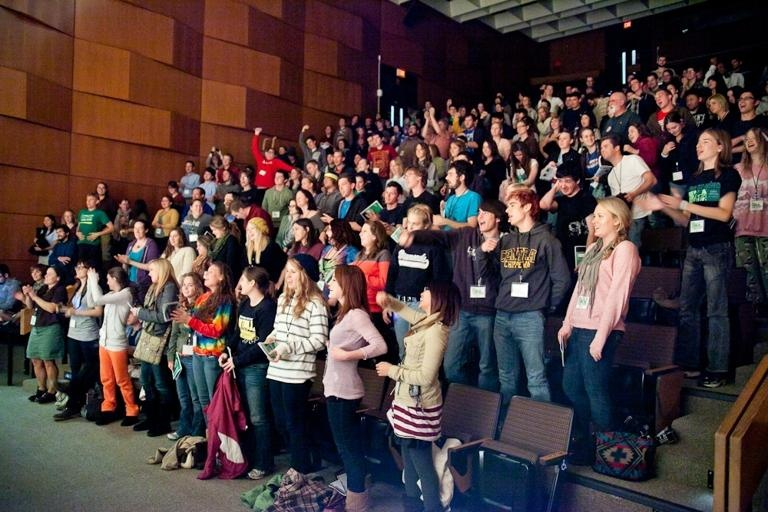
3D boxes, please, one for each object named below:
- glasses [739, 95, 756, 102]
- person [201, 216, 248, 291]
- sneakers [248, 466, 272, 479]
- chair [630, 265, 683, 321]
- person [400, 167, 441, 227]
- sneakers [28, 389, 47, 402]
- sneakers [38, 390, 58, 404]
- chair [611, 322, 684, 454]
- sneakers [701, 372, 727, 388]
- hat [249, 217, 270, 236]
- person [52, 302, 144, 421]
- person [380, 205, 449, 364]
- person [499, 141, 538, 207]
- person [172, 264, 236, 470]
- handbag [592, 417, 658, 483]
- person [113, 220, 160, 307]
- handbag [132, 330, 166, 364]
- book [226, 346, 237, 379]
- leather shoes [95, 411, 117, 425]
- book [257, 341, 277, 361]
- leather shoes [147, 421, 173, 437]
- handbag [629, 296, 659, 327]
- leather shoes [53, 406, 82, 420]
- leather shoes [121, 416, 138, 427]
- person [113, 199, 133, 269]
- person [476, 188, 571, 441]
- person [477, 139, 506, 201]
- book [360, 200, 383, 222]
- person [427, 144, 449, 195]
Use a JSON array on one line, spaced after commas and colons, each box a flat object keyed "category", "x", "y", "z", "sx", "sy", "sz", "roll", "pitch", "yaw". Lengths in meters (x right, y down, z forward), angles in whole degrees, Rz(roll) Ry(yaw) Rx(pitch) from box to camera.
[{"category": "glasses", "x": 4.406, "y": -1.909, "z": 7.431, "sx": 0.151, "sy": 0.106, "sz": 0.105, "roll": 1, "pitch": 14, "yaw": 29}, {"category": "person", "x": -2.167, "y": 0.095, "z": 7.984, "sx": 0.547, "sy": 1.308, "sz": 0.535, "roll": -3, "pitch": 33, "yaw": -27}, {"category": "sneakers", "x": -1.265, "y": 2.178, "z": 6.162, "sx": 0.085, "sy": 0.078, "sz": 0.188, "roll": -7, "pitch": -19, "yaw": 34}, {"category": "chair", "x": 2.983, "y": 0.428, "z": 6.795, "sx": 0.613, "sy": 0.798, "sz": 0.548, "roll": 2, "pitch": -8, "yaw": 27}, {"category": "person", "x": 0.492, "y": -0.711, "z": 7.565, "sx": 0.500, "sy": 0.851, "sz": 0.766, "roll": -5, "pitch": 8, "yaw": -8}, {"category": "sneakers", "x": -4.707, "y": 1.903, "z": 8.335, "sx": 0.317, "sy": 0.142, "sz": 0.114, "roll": 6, "pitch": 2, "yaw": -11}, {"category": "sneakers", "x": -4.542, "y": 1.911, "z": 8.282, "sx": 0.318, "sy": 0.128, "sz": 0.114, "roll": 5, "pitch": -1, "yaw": -31}, {"category": "chair", "x": 2.482, "y": 1.197, "z": 5.885, "sx": 0.550, "sy": 0.874, "sz": 0.670, "roll": -13, "pitch": 12, "yaw": -31}, {"category": "sneakers", "x": 3.121, "y": 1.178, "z": 5.798, "sx": 0.295, "sy": 0.142, "sz": 0.110, "roll": 3, "pitch": -6, "yaw": -21}, {"category": "hat", "x": -1.561, "y": -0.389, "z": 7.617, "sx": 0.237, "sy": 0.127, "sz": 0.203, "roll": 36, "pitch": 27, "yaw": 33}, {"category": "person", "x": -3.491, "y": 1.350, "z": 7.647, "sx": 1.083, "sy": 1.288, "sz": 0.788, "roll": -2, "pitch": 12, "yaw": 19}, {"category": "person", "x": 0.295, "y": 0.534, "z": 6.723, "sx": 0.758, "sy": 2.172, "sz": 0.422, "roll": 6, "pitch": 17, "yaw": 18}, {"category": "person", "x": 1.808, "y": -1.052, "z": 8.332, "sx": 0.575, "sy": 0.837, "sz": 0.430, "roll": -13, "pitch": 16, "yaw": -18}, {"category": "person", "x": -1.937, "y": 1.073, "z": 6.565, "sx": 0.764, "sy": 1.973, "sz": 0.631, "roll": 0, "pitch": 7, "yaw": -25}, {"category": "handbag", "x": 2.126, "y": 1.735, "z": 5.440, "sx": 0.513, "sy": 0.550, "sz": 0.319, "roll": -6, "pitch": -33, "yaw": 39}, {"category": "person", "x": -3.522, "y": 0.270, "z": 8.654, "sx": 0.519, "sy": 1.463, "sz": 0.494, "roll": 15, "pitch": 16, "yaw": 26}, {"category": "handbag", "x": -2.707, "y": 1.064, "z": 7.118, "sx": 0.302, "sy": 0.396, "sz": 0.119, "roll": 8, "pitch": -8, "yaw": 29}, {"category": "book", "x": -1.562, "y": 1.072, "z": 6.254, "sx": 0.071, "sy": 0.444, "sz": 0.077, "roll": -9, "pitch": -17, "yaw": 0}, {"category": "leather shoes", "x": -3.370, "y": 1.968, "z": 7.465, "sx": 0.200, "sy": 0.181, "sz": 0.152, "roll": 2, "pitch": 36, "yaw": 0}, {"category": "book", "x": -1.088, "y": 0.891, "z": 5.838, "sx": 0.054, "sy": 0.192, "sz": 0.198, "roll": -39, "pitch": -13, "yaw": -5}, {"category": "leather shoes", "x": -2.609, "y": 2.015, "z": 7.100, "sx": 0.114, "sy": 0.128, "sz": 0.323, "roll": -2, "pitch": -11, "yaw": 38}, {"category": "handbag", "x": 2.794, "y": 0.590, "z": 6.640, "sx": 0.298, "sy": 0.280, "sz": 0.069, "roll": 5, "pitch": -5, "yaw": 41}, {"category": "leather shoes", "x": -3.974, "y": 1.962, "z": 7.694, "sx": 0.360, "sy": 0.179, "sz": 0.136, "roll": 5, "pitch": -2, "yaw": -26}, {"category": "leather shoes", "x": -3.078, "y": 1.994, "z": 7.394, "sx": 0.186, "sy": 0.078, "sz": 0.093, "roll": 4, "pitch": -3, "yaw": -40}, {"category": "person", "x": -4.689, "y": -0.490, "z": 11.097, "sx": 0.379, "sy": 1.073, "sz": 0.375, "roll": 10, "pitch": 28, "yaw": -9}, {"category": "person", "x": 1.327, "y": 0.590, "z": 5.889, "sx": 0.839, "sy": 2.458, "sz": 0.821, "roll": -1, "pitch": 12, "yaw": 12}, {"category": "person", "x": 1.446, "y": -1.220, "z": 8.652, "sx": 0.478, "sy": 0.807, "sz": 0.447, "roll": -11, "pitch": 23, "yaw": -13}, {"category": "book", "x": -0.157, "y": -0.493, "z": 7.281, "sx": 0.242, "sy": 0.241, "sz": 0.063, "roll": 26, "pitch": -48, "yaw": -17}, {"category": "person", "x": 0.859, "y": -1.261, "z": 9.234, "sx": 0.380, "sy": 0.756, "sz": 0.394, "roll": -9, "pitch": 7, "yaw": -31}]
